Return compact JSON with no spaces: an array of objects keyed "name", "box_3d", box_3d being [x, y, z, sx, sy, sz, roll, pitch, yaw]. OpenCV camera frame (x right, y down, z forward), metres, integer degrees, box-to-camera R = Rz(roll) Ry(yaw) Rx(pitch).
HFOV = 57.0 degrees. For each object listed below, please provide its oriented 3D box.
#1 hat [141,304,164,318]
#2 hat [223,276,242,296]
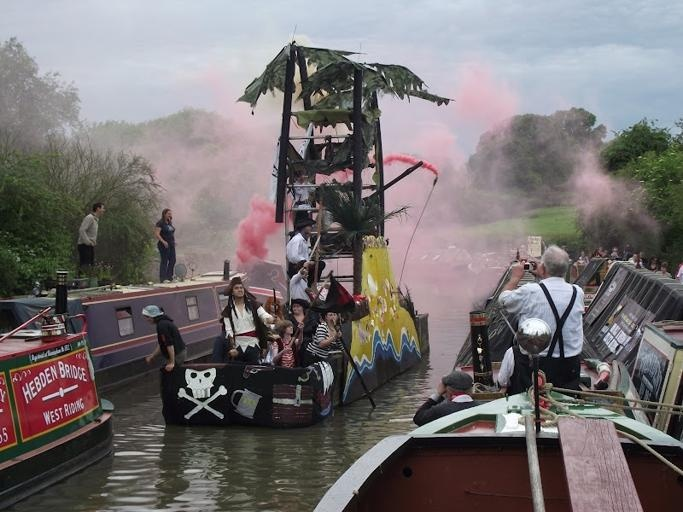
[{"name":"hat","box_3d":[-3.484,1.026,11.682,0.287,0.257,0.431,-2,0,-8]},{"name":"hat","box_3d":[-2.079,0.567,11.919,0.291,0.380,0.767,0,1,-13]}]
